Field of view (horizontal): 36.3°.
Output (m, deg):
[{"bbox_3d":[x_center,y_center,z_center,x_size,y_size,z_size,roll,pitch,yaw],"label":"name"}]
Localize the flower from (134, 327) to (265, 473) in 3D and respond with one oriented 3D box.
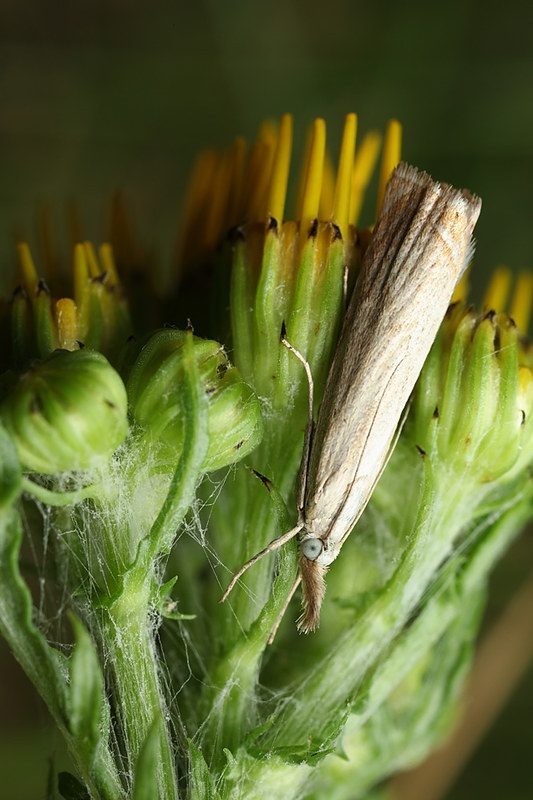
[{"bbox_3d":[-0.078,0.008,0.933,0.165,0.137,0.160,3,30,-7],"label":"flower"}]
